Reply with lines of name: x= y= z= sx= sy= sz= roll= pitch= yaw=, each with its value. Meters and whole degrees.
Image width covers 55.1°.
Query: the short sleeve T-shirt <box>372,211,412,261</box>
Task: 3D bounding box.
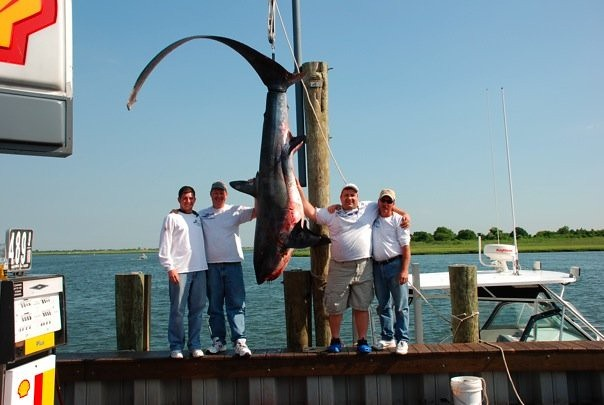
short sleeve T-shirt: x=1.034 y=0.416 z=7.169 sx=0.577 sy=0.586 sz=0.331 roll=1 pitch=1 yaw=30

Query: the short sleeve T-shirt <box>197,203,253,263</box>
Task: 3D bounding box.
short sleeve T-shirt: x=-0.963 y=0.393 z=6.899 sx=0.727 sy=0.548 sz=0.202 roll=-4 pitch=-18 yaw=0

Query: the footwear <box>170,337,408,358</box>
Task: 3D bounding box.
footwear: x=0.005 y=1.738 z=6.907 sx=2.524 sy=0.240 sz=0.403 roll=-3 pitch=-6 yaw=1

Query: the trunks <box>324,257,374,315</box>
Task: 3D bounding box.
trunks: x=0.595 y=0.959 z=7.176 sx=0.612 sy=0.861 sz=0.447 roll=-1 pitch=15 yaw=-5

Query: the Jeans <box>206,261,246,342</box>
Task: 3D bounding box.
Jeans: x=-0.945 y=1.246 z=7.116 sx=0.477 sy=1.100 sz=0.332 roll=1 pitch=2 yaw=-3

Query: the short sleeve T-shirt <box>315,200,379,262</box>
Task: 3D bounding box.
short sleeve T-shirt: x=0.605 y=0.364 z=7.142 sx=1.107 sy=0.726 sz=0.288 roll=-7 pitch=-4 yaw=23

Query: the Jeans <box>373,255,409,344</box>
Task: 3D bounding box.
Jeans: x=1.067 y=1.169 z=7.006 sx=0.390 sy=1.018 sz=0.282 roll=-5 pitch=-7 yaw=15

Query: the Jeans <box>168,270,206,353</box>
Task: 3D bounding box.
Jeans: x=-1.370 y=1.276 z=6.993 sx=0.414 sy=1.059 sz=0.322 roll=7 pitch=-12 yaw=-17

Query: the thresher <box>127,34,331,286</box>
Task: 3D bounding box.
thresher: x=-0.553 y=-0.464 z=6.603 sx=0.535 sy=2.640 sz=2.642 roll=-3 pitch=4 yaw=-34
